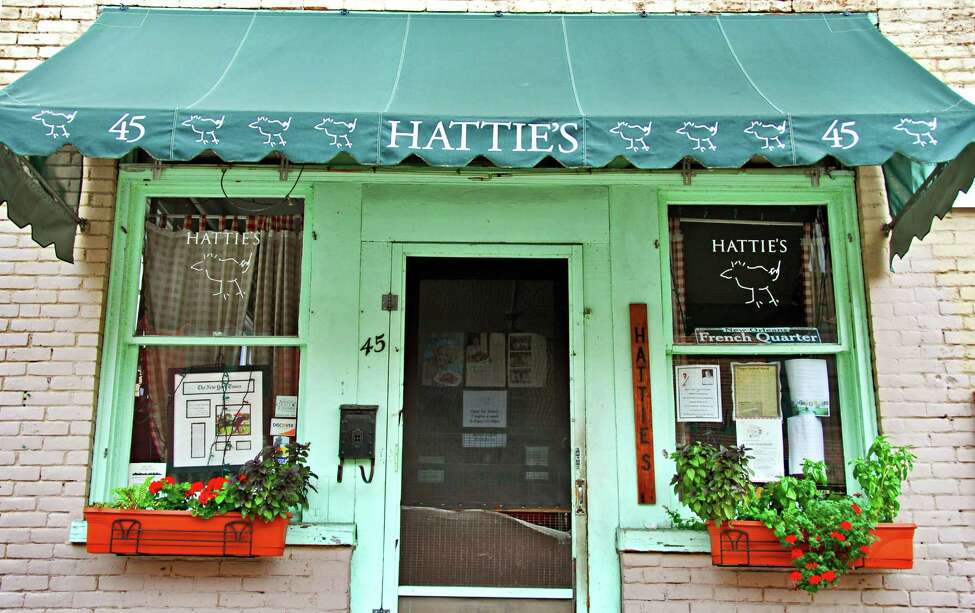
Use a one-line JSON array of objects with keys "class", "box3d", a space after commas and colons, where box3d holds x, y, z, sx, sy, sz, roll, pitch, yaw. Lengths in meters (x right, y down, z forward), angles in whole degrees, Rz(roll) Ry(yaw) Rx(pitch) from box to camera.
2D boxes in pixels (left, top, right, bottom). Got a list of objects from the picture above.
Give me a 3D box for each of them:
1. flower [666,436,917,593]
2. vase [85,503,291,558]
[{"class": "flower", "box3d": [2.557, 1.677, 8.303, 2.105, 1.251, 0.938, 3, -19, -5]}, {"class": "vase", "box3d": [-2.387, 1.753, 8.118, 1.572, 0.366, 0.158, 0, -11, 1]}]
